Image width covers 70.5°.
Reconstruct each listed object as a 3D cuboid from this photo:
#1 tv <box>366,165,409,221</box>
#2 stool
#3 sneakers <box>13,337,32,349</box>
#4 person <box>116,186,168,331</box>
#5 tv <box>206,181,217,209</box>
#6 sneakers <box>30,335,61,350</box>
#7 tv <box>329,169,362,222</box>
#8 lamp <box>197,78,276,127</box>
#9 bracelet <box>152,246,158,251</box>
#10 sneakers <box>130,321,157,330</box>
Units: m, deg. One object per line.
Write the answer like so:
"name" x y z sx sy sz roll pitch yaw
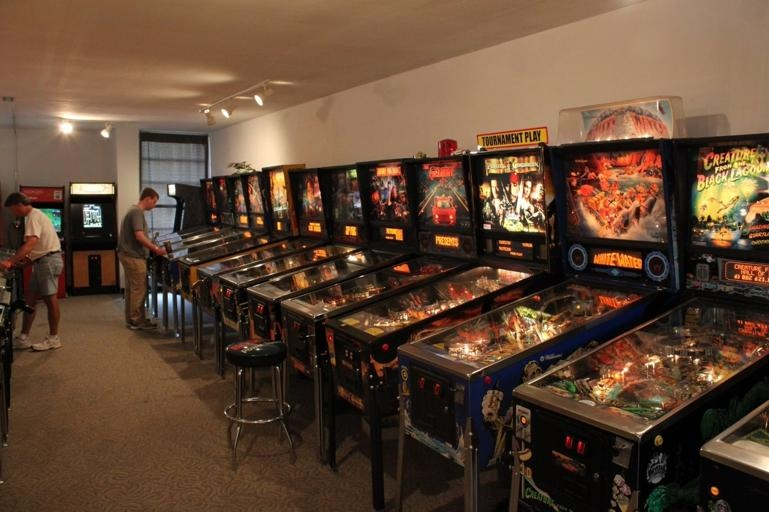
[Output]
"tv" 0.038 -0.563 4.702 0.048 0.460 0.477 -9 11 -35
"stool" -0.987 1.126 4.287 0.608 0.793 0.562 -1 -2 -27
"sneakers" -4.221 1.000 6.316 0.102 0.116 0.196 -7 16 -41
"person" -3.239 0.081 7.215 0.582 1.883 0.911 -7 16 -25
"tv" -2.809 -1.008 8.758 0.108 0.386 0.434 -2 18 -28
"sneakers" -3.966 1.014 6.398 0.357 0.162 0.142 5 -3 -39
"tv" -0.374 -0.598 5.226 0.026 0.471 0.488 -8 12 -30
"lamp" -1.923 -1.971 6.918 0.333 0.319 1.636 -19 9 -30
"bracelet" -2.932 -0.097 6.896 0.059 0.041 0.058 -1 -5 25
"sneakers" -3.229 0.915 7.297 0.362 0.145 0.132 0 0 -9
